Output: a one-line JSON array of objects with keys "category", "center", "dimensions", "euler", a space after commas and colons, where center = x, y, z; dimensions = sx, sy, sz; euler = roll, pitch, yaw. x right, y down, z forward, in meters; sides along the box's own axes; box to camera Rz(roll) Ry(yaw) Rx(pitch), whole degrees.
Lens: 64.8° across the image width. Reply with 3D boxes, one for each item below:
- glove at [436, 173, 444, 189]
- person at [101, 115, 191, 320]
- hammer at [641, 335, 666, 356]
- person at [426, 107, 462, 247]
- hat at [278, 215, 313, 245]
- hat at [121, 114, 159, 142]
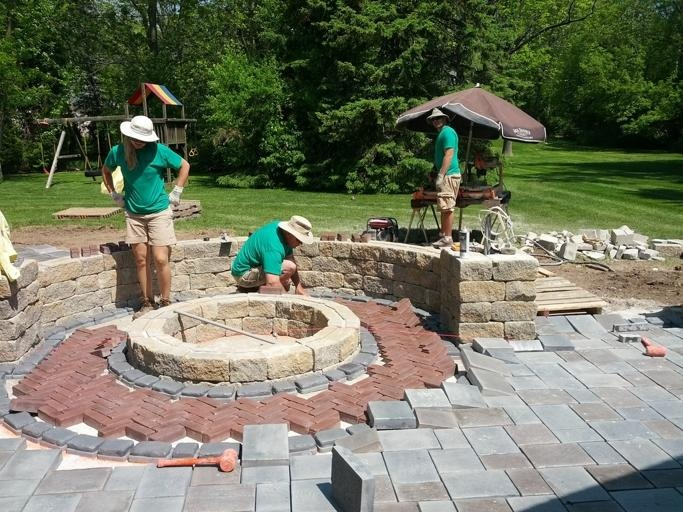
[{"category": "glove", "center": [1.641, -1.233, 8.968], "dimensions": [0.076, 0.195, 0.165], "euler": [2, -11, -13]}, {"category": "person", "center": [-2.829, -0.555, 7.522], "dimensions": [1.423, 2.559, 0.907], "euler": [0, 4, 15]}, {"category": "hammer", "center": [3.606, 1.048, 6.184], "dimensions": [0.231, 0.065, 0.202], "euler": [1, 20, 10]}, {"category": "person", "center": [1.784, -1.331, 9.333], "dimensions": [0.797, 2.263, 0.866], "euler": [0, 9, 13]}, {"category": "hat", "center": [-0.556, -0.370, 7.224], "dimensions": [0.451, 0.193, 0.381], "euler": [34, 19, 0]}, {"category": "hat", "center": [-2.684, -1.672, 7.122], "dimensions": [0.397, 0.350, 0.376], "euler": [-2, 14, -11]}]
